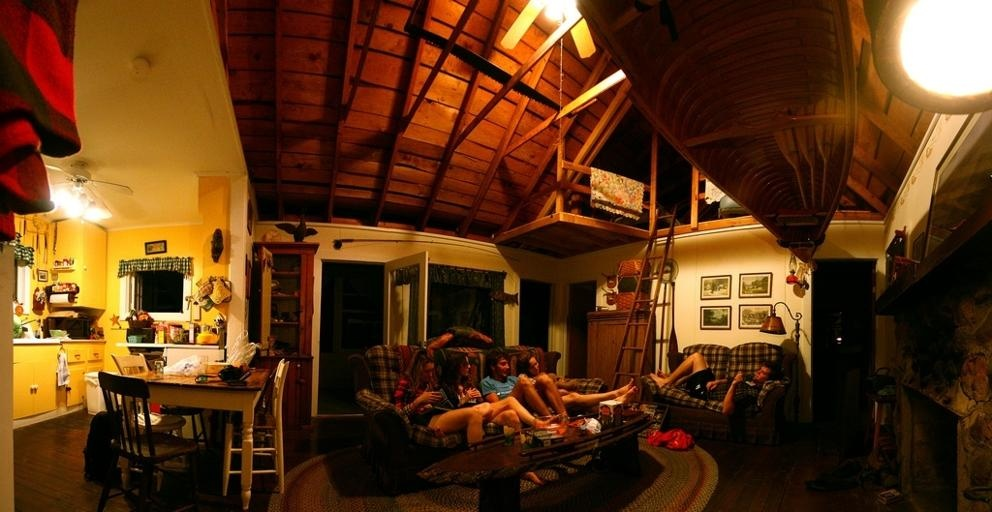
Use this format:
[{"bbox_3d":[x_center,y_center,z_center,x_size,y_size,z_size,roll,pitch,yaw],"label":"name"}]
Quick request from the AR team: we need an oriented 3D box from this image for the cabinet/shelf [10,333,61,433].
[{"bbox_3d":[-6.595,1.802,9.116,0.224,1.208,0.723,-2,-11,15],"label":"cabinet/shelf"}]

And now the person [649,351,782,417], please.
[{"bbox_3d":[3.291,1.820,9.401,1.132,0.802,2.143,-8,0,-43],"label":"person"}]

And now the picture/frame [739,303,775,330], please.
[{"bbox_3d":[4.132,0.965,10.038,0.474,0.362,0.039,5,-17,35],"label":"picture/frame"}]

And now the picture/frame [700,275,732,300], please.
[{"bbox_3d":[3.623,0.519,10.437,0.462,0.351,0.044,0,-17,36],"label":"picture/frame"}]

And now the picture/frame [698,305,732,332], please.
[{"bbox_3d":[3.600,1.026,10.396,0.504,0.381,0.049,-1,-14,36],"label":"picture/frame"}]

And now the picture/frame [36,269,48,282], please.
[{"bbox_3d":[-6.901,0.290,9.616,0.022,0.195,0.216,0,-2,36],"label":"picture/frame"}]

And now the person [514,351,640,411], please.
[{"bbox_3d":[1.144,1.701,8.543,1.910,0.912,0.692,-6,-12,6],"label":"person"}]

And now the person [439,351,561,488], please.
[{"bbox_3d":[-0.015,1.808,7.848,1.816,0.907,0.822,-8,-1,35],"label":"person"}]

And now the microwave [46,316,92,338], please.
[{"bbox_3d":[-6.551,1.099,9.754,0.567,0.341,0.359,2,-12,-23],"label":"microwave"}]

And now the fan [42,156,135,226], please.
[{"bbox_3d":[-5.547,-0.875,8.504,0.809,0.747,0.893,6,-12,-27],"label":"fan"}]

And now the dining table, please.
[{"bbox_3d":[-3.253,2.008,7.646,1.545,1.260,1.851,0,-7,2],"label":"dining table"}]

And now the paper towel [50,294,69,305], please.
[{"bbox_3d":[-6.612,0.648,9.598,0.345,0.131,0.100,-2,-11,13],"label":"paper towel"}]

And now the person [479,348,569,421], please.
[{"bbox_3d":[0.436,1.735,8.348,0.718,0.911,1.610,-6,-4,-35],"label":"person"}]

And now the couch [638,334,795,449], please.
[{"bbox_3d":[3.347,2.054,9.429,2.363,1.434,1.413,-7,-23,36],"label":"couch"}]

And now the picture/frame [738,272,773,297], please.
[{"bbox_3d":[4.163,0.453,10.160,0.449,0.340,0.045,1,-4,30],"label":"picture/frame"}]
